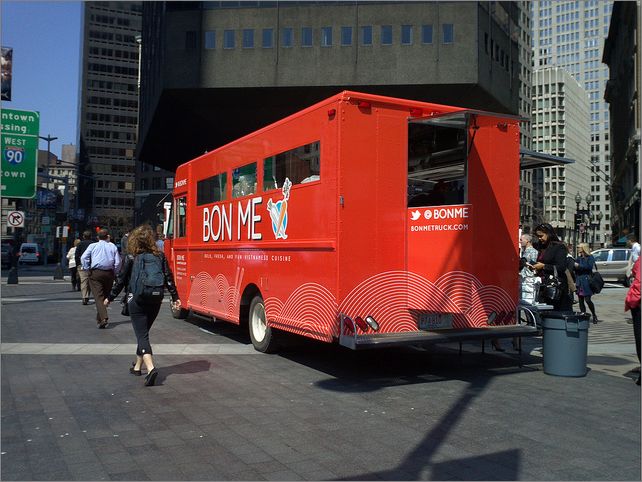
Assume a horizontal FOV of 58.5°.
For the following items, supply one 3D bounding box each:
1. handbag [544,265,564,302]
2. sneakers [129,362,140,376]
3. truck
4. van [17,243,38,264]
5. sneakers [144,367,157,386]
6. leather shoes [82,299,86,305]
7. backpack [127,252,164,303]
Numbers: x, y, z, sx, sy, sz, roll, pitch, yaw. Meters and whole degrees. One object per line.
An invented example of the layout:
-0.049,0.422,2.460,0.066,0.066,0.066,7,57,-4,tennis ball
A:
4.173,0.781,10.281,0.302,0.646,0.460,1,1,23,handbag
-2.989,2.060,9.231,0.108,0.145,0.304,1,4,-30,sneakers
-1.040,-0.131,11.672,9.800,3.304,3.327,2,1,39,truck
-28.681,1.217,56.459,1.400,1.564,2.447,0,2,-32,van
-2.500,2.015,8.508,0.195,0.273,0.213,0,1,-40,sneakers
-7.475,1.922,18.138,0.108,0.199,0.179,0,1,-37,leather shoes
-2.677,0.564,8.817,0.477,0.802,0.435,11,-30,-38,backpack
